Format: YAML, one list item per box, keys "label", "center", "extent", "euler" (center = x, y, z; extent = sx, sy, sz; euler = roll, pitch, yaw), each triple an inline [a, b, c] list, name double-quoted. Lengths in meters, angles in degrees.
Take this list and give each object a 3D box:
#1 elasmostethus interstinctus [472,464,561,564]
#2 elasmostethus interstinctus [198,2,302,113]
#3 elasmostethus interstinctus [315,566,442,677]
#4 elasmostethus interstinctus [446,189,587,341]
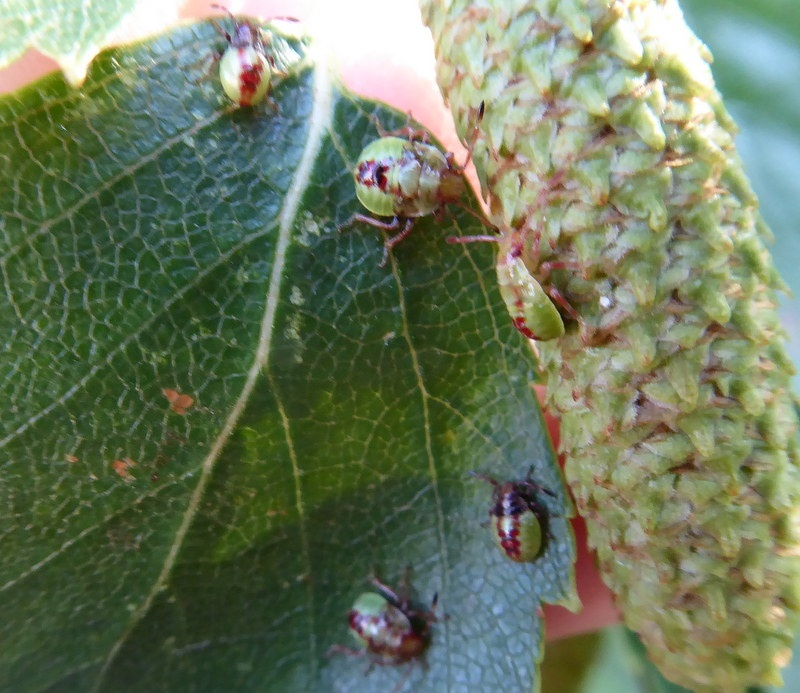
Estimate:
- label: "elasmostethus interstinctus"
  center: [0.309, 0.431, 2.131]
  extent: [0.202, 0.066, 0.253]
  euler: [-6, 82, 23]
- label: "elasmostethus interstinctus"
  center: [-0.347, -0.685, 1.902]
  extent: [0.182, 0.056, 0.219]
  euler: [5, 82, 0]
- label: "elasmostethus interstinctus"
  center: [-0.057, 0.734, 2.236]
  extent: [0.273, 0.087, 0.306]
  euler: [40, 109, 4]
- label: "elasmostethus interstinctus"
  center: [0.271, -0.166, 1.783]
  extent: [0.184, 0.282, 0.085]
  euler: [18, 56, 36]
